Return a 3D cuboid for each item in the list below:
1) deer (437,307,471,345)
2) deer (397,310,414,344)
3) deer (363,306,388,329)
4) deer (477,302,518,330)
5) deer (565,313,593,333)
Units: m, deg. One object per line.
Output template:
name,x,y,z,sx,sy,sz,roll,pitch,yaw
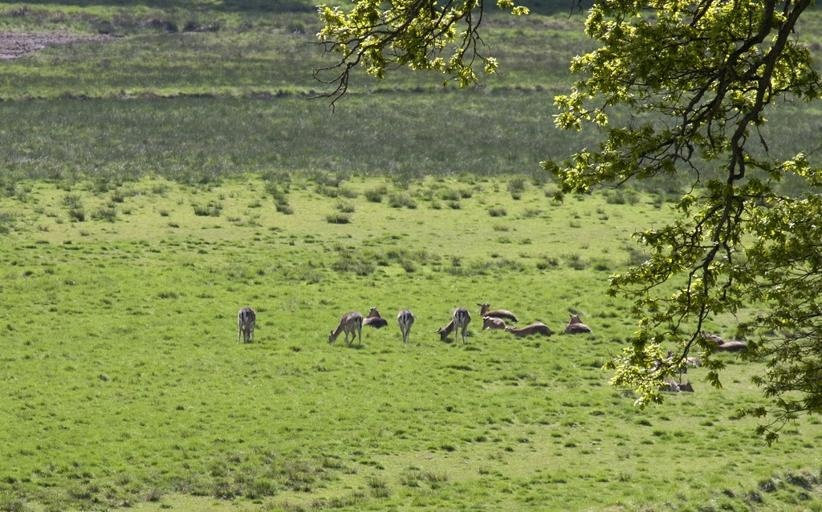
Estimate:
deer,2.628,3.888,117.057,1.672,2.070,1.637,8,12,1
deer,-0.369,3.984,116.674,0.920,1.858,1.494,8,12,0
deer,-2.076,3.629,117.767,1.435,1.103,0.892,6,12,-3
deer,5.058,3.600,118.451,2.383,1.234,1.784,12,13,26
deer,9.960,4.103,117.986,1.522,1.342,0.943,8,-24,4
